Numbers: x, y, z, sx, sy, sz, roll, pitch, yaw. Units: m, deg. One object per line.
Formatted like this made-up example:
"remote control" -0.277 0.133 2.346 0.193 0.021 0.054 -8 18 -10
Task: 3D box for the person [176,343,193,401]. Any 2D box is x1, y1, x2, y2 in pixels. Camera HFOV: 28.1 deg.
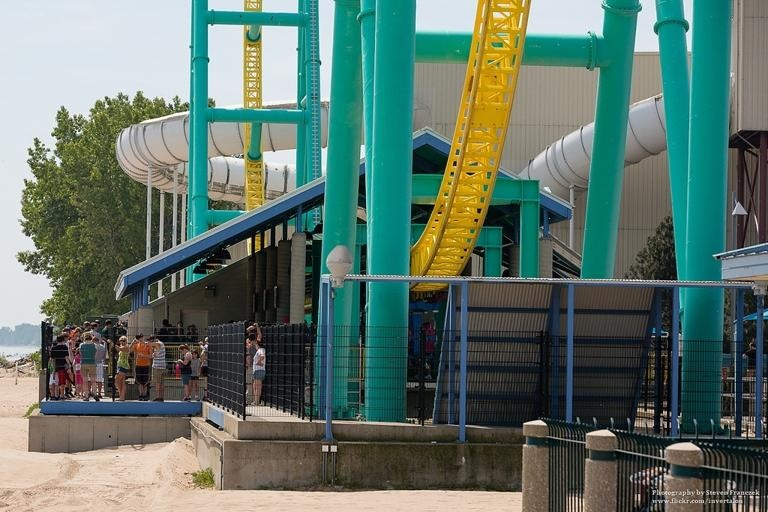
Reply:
"person" -6.632 3.922 51.062 0.433 1.872 0.931 1 -8 -7
